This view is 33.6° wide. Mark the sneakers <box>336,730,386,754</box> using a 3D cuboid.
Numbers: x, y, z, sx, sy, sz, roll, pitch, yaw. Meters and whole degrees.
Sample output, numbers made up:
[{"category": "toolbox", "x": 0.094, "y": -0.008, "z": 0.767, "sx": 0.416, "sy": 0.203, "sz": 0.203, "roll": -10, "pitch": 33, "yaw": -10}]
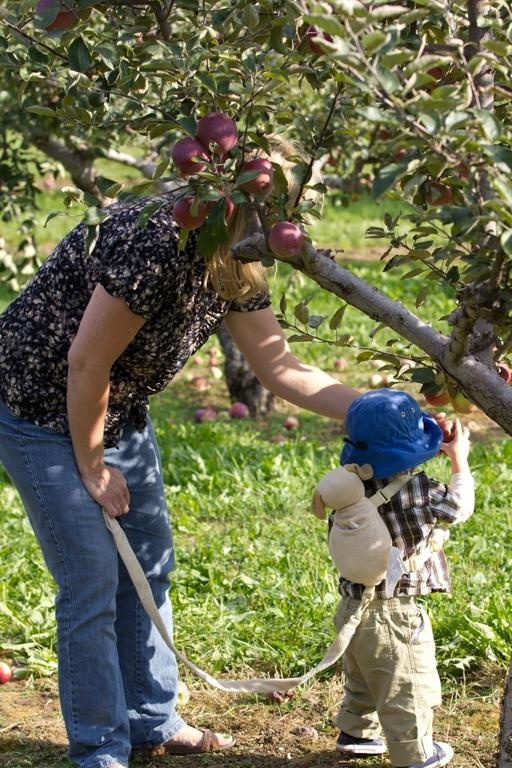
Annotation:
[{"category": "sneakers", "x": 0.293, "y": 0.994, "z": 2.365, "sx": 0.161, "sy": 0.060, "sz": 0.054, "roll": 3, "pitch": -7, "yaw": -21}]
